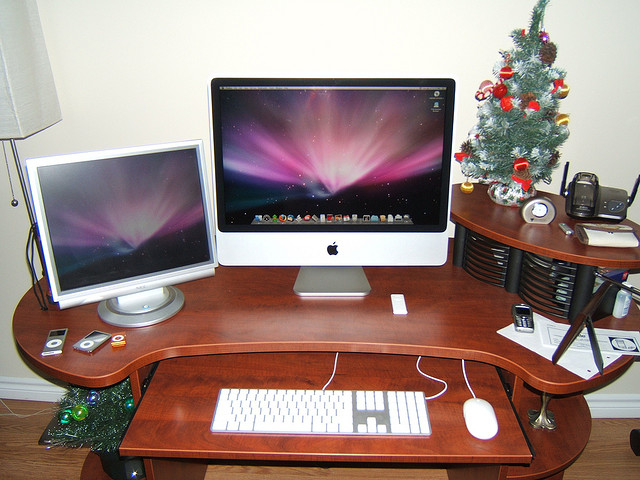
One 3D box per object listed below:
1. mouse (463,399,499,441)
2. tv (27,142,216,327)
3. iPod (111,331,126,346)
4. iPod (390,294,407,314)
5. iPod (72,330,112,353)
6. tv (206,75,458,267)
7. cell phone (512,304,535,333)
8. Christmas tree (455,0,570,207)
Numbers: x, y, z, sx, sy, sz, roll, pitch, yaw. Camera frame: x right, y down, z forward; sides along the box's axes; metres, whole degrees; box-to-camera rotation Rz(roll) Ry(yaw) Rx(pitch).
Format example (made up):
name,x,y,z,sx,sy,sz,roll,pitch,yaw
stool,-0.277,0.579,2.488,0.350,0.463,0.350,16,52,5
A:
name,x,y,z,sx,sy,sz,roll,pitch,yaw
mouse,0.514,0.568,1.655,0.102,0.064,0.118,-10,28,-16
tv,-0.663,-0.023,1.844,0.559,0.589,0.316,-13,25,-29
iPod,-0.678,0.331,1.762,0.045,0.020,0.065,-9,28,-16
iPod,0.292,0.246,1.897,0.043,0.009,0.117,0,29,4
iPod,-0.760,0.343,1.747,0.077,0.010,0.106,11,29,22
tv,0.048,-0.267,1.846,0.699,0.520,0.089,0,19,-2
cell phone,0.720,0.275,1.841,0.070,0.030,0.138,5,31,13
Christmas tree,0.745,-0.503,1.973,0.387,0.732,0.251,12,30,26
